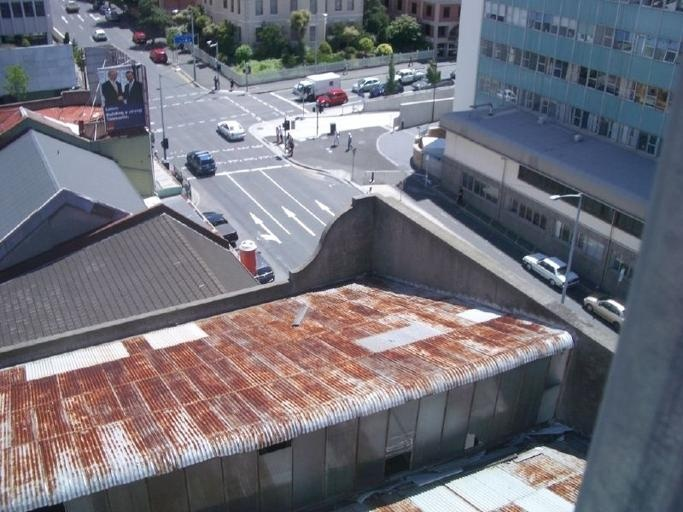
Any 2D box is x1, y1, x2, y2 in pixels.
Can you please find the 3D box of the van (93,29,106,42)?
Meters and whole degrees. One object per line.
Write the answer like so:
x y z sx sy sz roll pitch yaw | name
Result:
-37.407 -34.045 107.794 2.203 1.047 3.897 -11 29 -18 | van

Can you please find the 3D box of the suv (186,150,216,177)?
-14.078 -9.368 69.304 1.589 1.662 3.613 -13 40 -23 | suv

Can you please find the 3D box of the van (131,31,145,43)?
-31.648 -34.158 108.654 1.217 1.066 2.079 -20 54 -24 | van

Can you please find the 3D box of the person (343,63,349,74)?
0.650 -27.328 101.411 0.779 1.153 2.051 0 27 2 | person

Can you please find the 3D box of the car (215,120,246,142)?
-12.207 -14.136 78.120 2.333 1.644 3.653 -18 32 -30 | car

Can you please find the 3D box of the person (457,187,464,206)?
10.882 -5.574 63.760 0.531 1.128 1.424 2 26 8 | person

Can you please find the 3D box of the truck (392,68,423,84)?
9.240 -24.816 96.609 3.438 1.281 2.239 -12 47 -27 | truck

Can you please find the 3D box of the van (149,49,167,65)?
-26.957 -29.604 102.805 2.508 1.893 4.378 -8 28 -15 | van

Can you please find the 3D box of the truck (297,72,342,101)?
-2.873 -21.678 90.384 5.188 3.134 3.079 -22 42 -14 | truck

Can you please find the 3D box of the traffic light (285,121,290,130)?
-6.116 -14.667 78.101 0.453 0.833 0.744 6 -4 12 | traffic light

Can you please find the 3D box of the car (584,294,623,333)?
18.020 3.541 46.975 1.461 1.878 3.274 -13 29 -23 | car

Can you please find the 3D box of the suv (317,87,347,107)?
-1.267 -20.022 88.308 4.400 1.713 1.807 -20 32 -32 | suv

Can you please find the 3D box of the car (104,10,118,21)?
-39.075 -40.734 118.402 1.581 1.348 2.498 -23 45 -25 | car

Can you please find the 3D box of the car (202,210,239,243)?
-9.675 -2.150 56.522 2.254 1.827 4.313 -12 29 -22 | car

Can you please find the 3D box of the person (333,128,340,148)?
-0.580 -12.956 77.111 0.584 0.884 2.298 -1 55 0 | person
